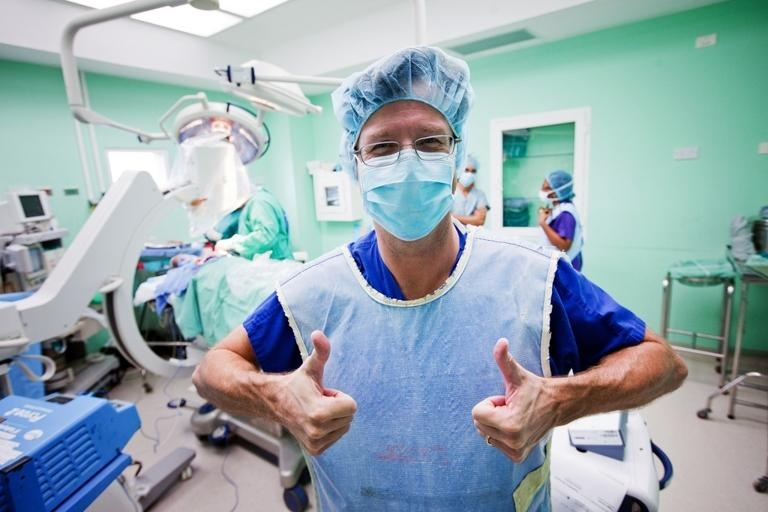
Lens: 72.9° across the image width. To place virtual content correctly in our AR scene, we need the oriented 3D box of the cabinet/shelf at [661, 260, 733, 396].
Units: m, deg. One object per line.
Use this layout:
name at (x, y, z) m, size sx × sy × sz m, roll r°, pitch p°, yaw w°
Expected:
cabinet/shelf at (2.521, 0.469, 4.163) m, size 0.556 × 0.881 × 0.557 m, roll 4°, pitch 5°, yaw 21°

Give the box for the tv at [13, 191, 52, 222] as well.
tv at (-2.676, -0.380, 3.931) m, size 0.123 × 0.215 × 0.221 m, roll -8°, pitch 3°, yaw 15°
